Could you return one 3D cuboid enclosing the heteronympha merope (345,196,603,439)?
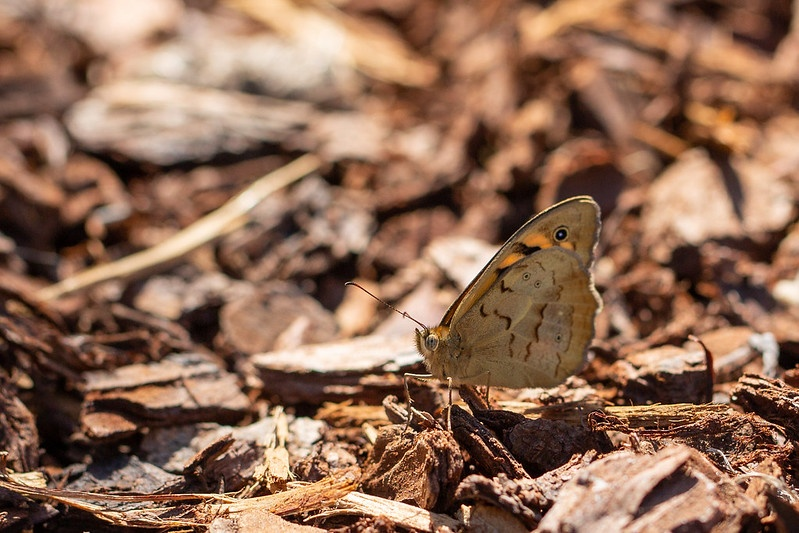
[{"bbox_3d":[0.744,0.215,5.708,1.109,1.214,0.618,0,34,-7],"label":"heteronympha merope"}]
